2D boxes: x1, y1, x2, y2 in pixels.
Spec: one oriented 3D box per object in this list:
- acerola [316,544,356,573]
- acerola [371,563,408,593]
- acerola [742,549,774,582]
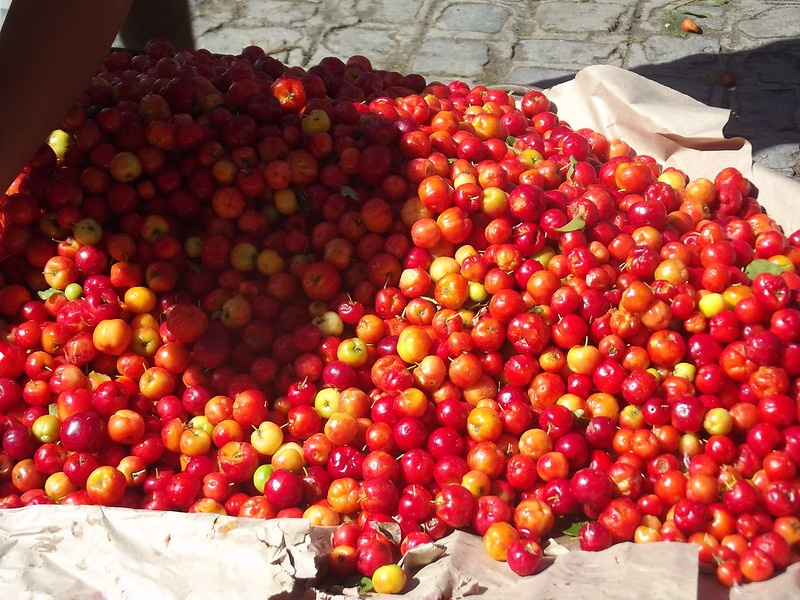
[{"bbox_3d":[-0.292,1.195,3.449,0.128,0.147,0.117,-32,81,-21],"label":"acerola"},{"bbox_3d":[-0.054,1.221,3.265,0.126,0.098,0.117,-13,27,-39],"label":"acerola"},{"bbox_3d":[1.579,1.185,3.331,0.123,0.126,0.127,-21,57,-1],"label":"acerola"}]
